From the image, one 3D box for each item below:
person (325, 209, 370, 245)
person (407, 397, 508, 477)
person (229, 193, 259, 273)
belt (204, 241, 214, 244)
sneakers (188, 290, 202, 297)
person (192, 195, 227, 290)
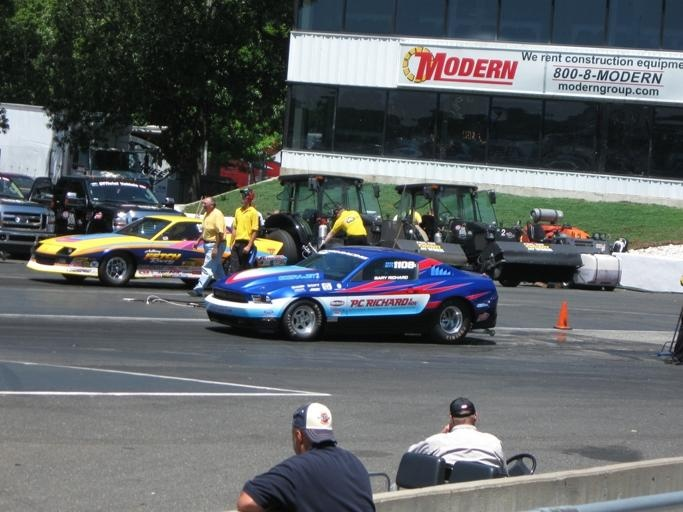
[{"bbox_3d":[0.176,-0.876,42.277,1.059,1.010,1.834,3,4,3],"label":"person"},{"bbox_3d":[2.421,3.450,29.473,1.723,1.305,0.439,3,4,8],"label":"person"},{"bbox_3d":[-2.679,-0.759,41.074,0.726,2.292,0.941,2,4,-4],"label":"person"},{"bbox_3d":[-3.539,-0.441,40.001,0.289,0.066,0.025,3,4,12],"label":"belt"},{"bbox_3d":[-3.947,0.943,40.231,0.395,0.162,0.141,9,17,-10],"label":"sneakers"},{"bbox_3d":[-3.545,-0.308,40.194,0.824,2.667,0.725,2,4,-5],"label":"person"}]
